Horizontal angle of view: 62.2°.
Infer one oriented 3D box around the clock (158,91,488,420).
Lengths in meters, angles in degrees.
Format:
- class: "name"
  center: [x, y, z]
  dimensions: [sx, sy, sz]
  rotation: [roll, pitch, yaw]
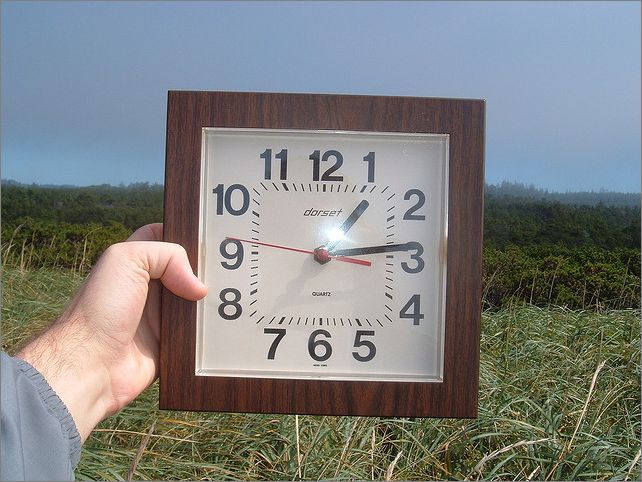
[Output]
- class: "clock"
  center: [-0.006, 0.067, 1.910]
  dimensions: [0.948, 1.142, 0.079]
  rotation: [2, 0, -2]
